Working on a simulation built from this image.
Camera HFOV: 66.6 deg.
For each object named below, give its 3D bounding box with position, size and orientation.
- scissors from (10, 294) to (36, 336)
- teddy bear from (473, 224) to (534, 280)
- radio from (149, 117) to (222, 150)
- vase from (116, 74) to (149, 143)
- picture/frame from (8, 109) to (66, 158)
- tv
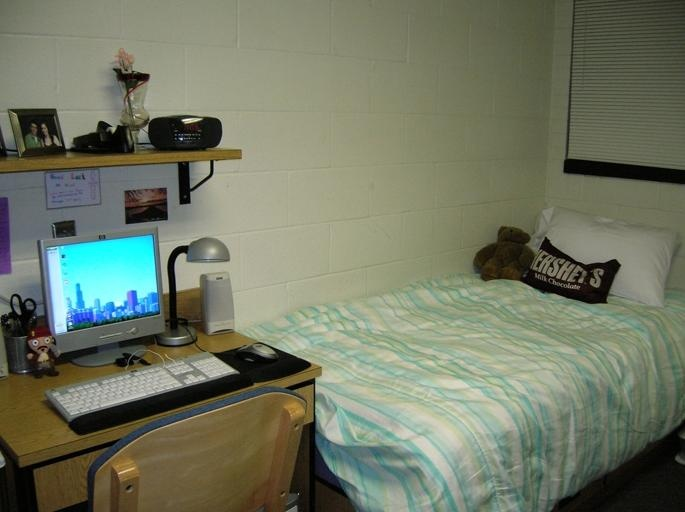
[{"bbox_3d":[-1.094,0.206,1.775,0.117,0.166,0.019,4,7,3],"label":"scissors"},{"bbox_3d":[1.027,-0.012,3.345,0.260,0.257,0.154,20,-8,22],"label":"teddy bear"},{"bbox_3d":[-0.592,-0.468,1.967,0.264,0.120,0.084,-6,15,-20],"label":"radio"},{"bbox_3d":[-0.783,-0.563,1.961,0.114,0.263,0.225,-7,15,-22],"label":"vase"},{"bbox_3d":[-1.028,-0.408,1.737,0.020,0.158,0.181,-18,-1,34],"label":"picture/frame"},{"bbox_3d":[-0.858,0.150,1.826,0.434,0.492,0.173,-9,9,-43],"label":"tv"}]
